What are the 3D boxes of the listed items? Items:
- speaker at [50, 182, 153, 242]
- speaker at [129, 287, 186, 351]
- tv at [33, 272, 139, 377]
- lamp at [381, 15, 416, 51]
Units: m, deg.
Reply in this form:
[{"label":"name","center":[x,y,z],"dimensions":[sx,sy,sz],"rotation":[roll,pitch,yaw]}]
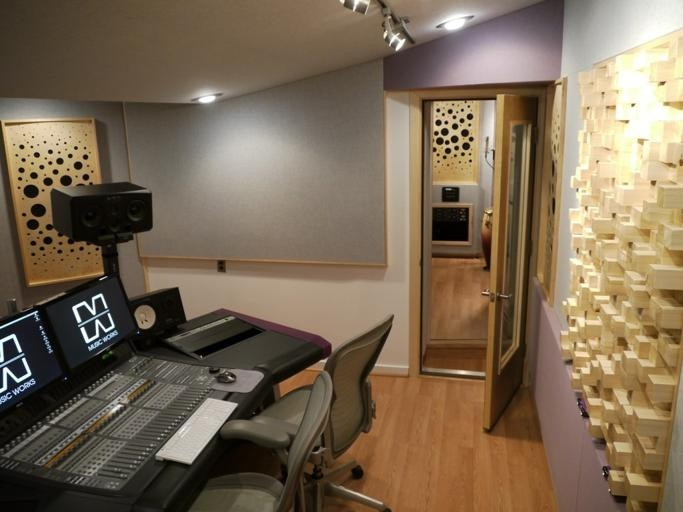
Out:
[{"label":"speaker","center":[-1.432,-0.317,2.919],"dimensions":[0.365,0.387,0.515],"rotation":[15,21,31]},{"label":"speaker","center":[-1.157,0.412,3.086],"dimensions":[0.161,0.262,0.297],"rotation":[-9,5,26]},{"label":"tv","center":[-1.436,0.394,2.747],"dimensions":[0.050,0.341,0.461],"rotation":[-13,12,19]},{"label":"lamp","center":[0.301,-1.214,2.653],"dimensions":[0.139,0.161,0.487],"rotation":[-1,13,7]}]
